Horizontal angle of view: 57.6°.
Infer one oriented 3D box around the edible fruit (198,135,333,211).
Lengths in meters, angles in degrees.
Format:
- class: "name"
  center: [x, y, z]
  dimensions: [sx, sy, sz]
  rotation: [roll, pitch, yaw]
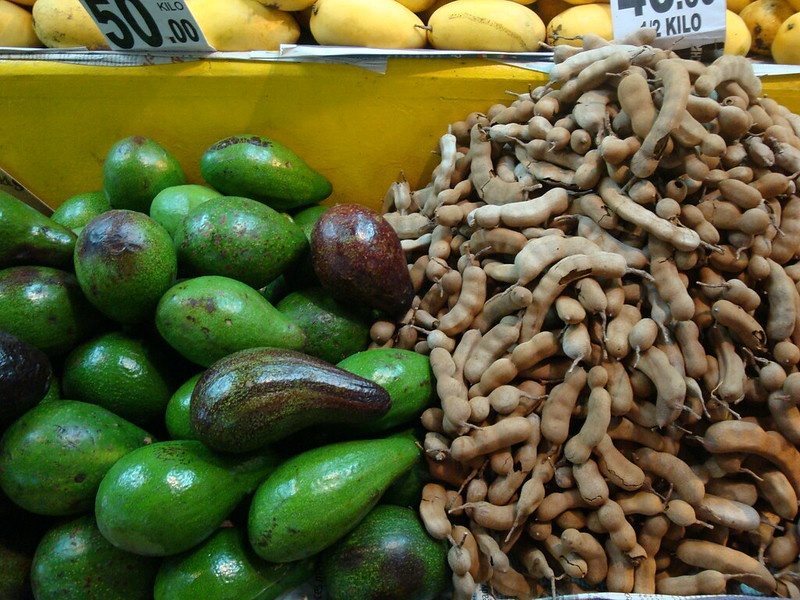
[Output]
- class: "edible fruit"
  center: [-0.564, -0.502, 3.019]
  dimensions: [0.499, 0.263, 0.277]
  rotation: [7, 85, -15]
